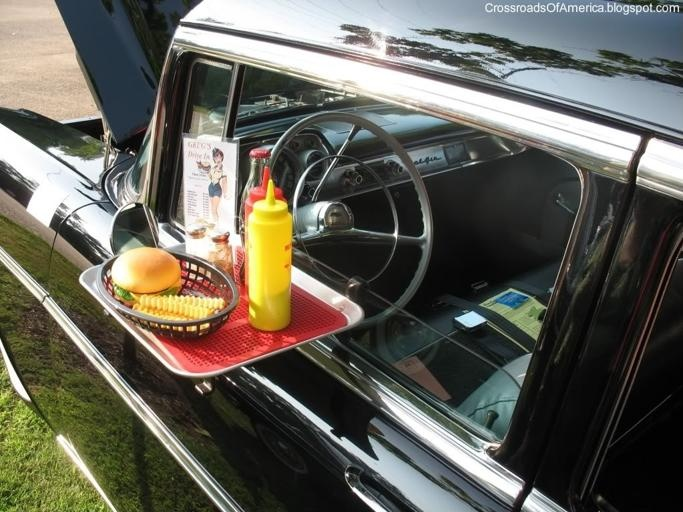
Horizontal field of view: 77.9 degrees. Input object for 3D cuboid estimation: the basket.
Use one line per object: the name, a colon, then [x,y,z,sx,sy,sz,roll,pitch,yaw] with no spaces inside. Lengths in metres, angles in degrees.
basket: [-0.367,0.079,0.927,0.298,0.106,0.230,20,26,32]

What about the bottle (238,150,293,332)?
bottle: [-0.163,-0.018,0.889,0.103,0.348,0.111,5,22,-2]
